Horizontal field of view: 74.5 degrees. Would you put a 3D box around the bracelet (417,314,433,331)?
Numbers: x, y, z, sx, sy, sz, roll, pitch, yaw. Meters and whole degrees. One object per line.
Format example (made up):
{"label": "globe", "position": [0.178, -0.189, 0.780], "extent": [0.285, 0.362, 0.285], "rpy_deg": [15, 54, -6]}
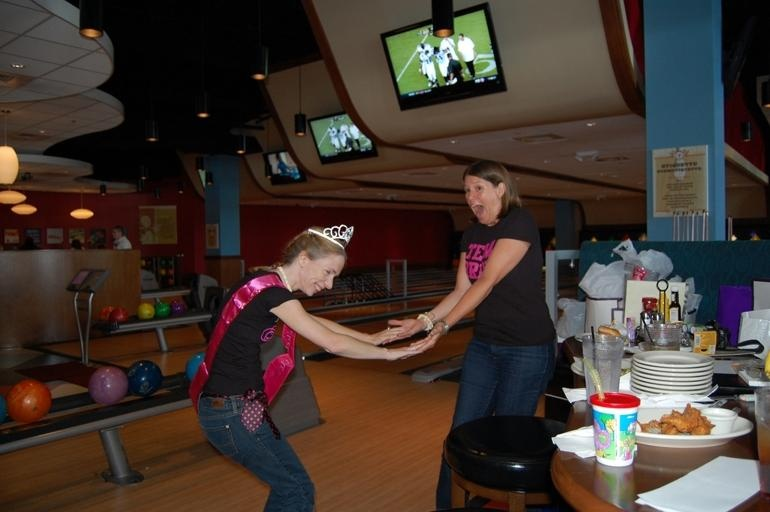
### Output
{"label": "bracelet", "position": [0.236, 0.375, 2.898], "extent": [0.037, 0.081, 0.090], "rpy_deg": [-13, 31, -14]}

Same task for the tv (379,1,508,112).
{"label": "tv", "position": [0.728, -2.368, 5.945], "extent": [1.377, 0.962, 0.143], "rpy_deg": [-5, 31, 36]}

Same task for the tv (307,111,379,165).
{"label": "tv", "position": [-0.756, -2.208, 9.396], "extent": [1.306, 0.921, 0.135], "rpy_deg": [-5, 33, 46]}

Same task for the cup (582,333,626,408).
{"label": "cup", "position": [0.863, 0.432, 2.009], "extent": [0.158, 0.234, 0.151], "rpy_deg": [-1, 0, 0]}

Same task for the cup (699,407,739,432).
{"label": "cup", "position": [1.184, 0.560, 1.780], "extent": [0.084, 0.042, 0.083], "rpy_deg": [0, -3, 0]}

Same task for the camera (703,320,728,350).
{"label": "camera", "position": [1.713, 0.403, 2.666], "extent": [0.163, 0.162, 0.098], "rpy_deg": [0, -2, 39]}

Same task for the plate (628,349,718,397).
{"label": "plate", "position": [1.166, 0.442, 2.040], "extent": [0.208, 0.090, 0.201], "rpy_deg": [0, 0, -20]}

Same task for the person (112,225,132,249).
{"label": "person", "position": [-5.245, -0.391, 10.050], "extent": [0.242, 0.412, 0.853], "rpy_deg": [-5, 5, -27]}

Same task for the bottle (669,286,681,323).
{"label": "bottle", "position": [1.656, 0.285, 2.885], "extent": [0.061, 0.154, 0.201], "rpy_deg": [0, 5, 29]}

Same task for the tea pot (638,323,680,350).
{"label": "tea pot", "position": [1.335, 0.376, 2.511], "extent": [0.142, 0.137, 0.201], "rpy_deg": [-4, 5, -24]}
